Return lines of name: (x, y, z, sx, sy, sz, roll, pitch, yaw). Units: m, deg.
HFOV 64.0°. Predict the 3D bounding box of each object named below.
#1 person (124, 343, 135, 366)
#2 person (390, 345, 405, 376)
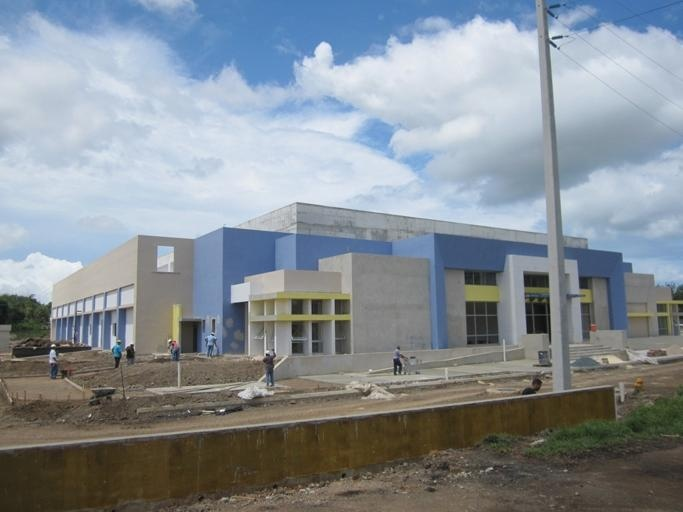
person: (-13.255, 6.137, 34.160, 0.396, 1.254, 1.998, -1, -4, -26)
person: (3.175, 5.939, 30.840, 0.550, 1.433, 1.248, -2, -3, 5)
